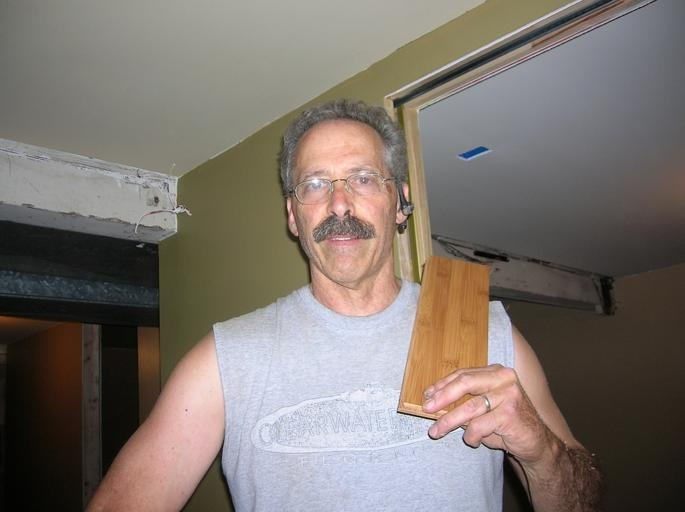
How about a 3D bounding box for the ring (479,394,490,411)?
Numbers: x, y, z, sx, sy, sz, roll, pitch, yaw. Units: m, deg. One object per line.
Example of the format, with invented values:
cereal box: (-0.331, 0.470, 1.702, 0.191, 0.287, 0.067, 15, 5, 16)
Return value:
ring: (0.409, 0.412, 1.503, 0.031, 0.035, 0.035, 0, -29, 0)
